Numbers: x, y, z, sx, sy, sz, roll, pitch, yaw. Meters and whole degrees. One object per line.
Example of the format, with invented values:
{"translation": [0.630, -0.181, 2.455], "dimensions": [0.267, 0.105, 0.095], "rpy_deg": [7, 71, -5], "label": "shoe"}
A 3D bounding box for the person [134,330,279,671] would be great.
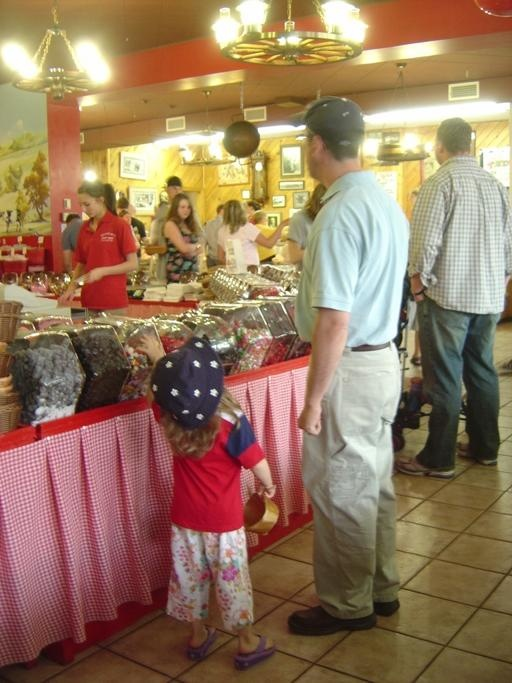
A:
{"translation": [-0.124, 0.429, 1.522], "dimensions": [0.367, 0.895, 0.286], "rpy_deg": [-5, 6, -36], "label": "person"}

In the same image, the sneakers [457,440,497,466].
{"translation": [1.316, 0.659, 3.290], "dimensions": [0.074, 0.073, 0.191], "rpy_deg": [-12, 24, -29], "label": "sneakers"}

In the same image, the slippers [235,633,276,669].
{"translation": [0.002, 0.830, 1.508], "dimensions": [0.044, 0.041, 0.116], "rpy_deg": [12, 16, 43], "label": "slippers"}

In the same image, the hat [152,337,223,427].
{"translation": [-0.164, 0.105, 1.349], "dimensions": [0.160, 0.199, 0.102], "rpy_deg": [-2, 5, -14], "label": "hat"}

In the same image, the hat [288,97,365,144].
{"translation": [0.183, -0.568, 1.434], "dimensions": [0.187, 0.139, 0.150], "rpy_deg": [1, 5, 22], "label": "hat"}

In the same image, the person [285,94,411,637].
{"translation": [0.241, 0.117, 1.521], "dimensions": [0.333, 1.505, 0.444], "rpy_deg": [1, 5, 14], "label": "person"}

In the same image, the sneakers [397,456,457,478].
{"translation": [0.944, 0.704, 3.078], "dimensions": [0.223, 0.077, 0.120], "rpy_deg": [10, 5, 16], "label": "sneakers"}

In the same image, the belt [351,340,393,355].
{"translation": [0.315, 0.012, 1.481], "dimensions": [0.143, 0.023, 0.035], "rpy_deg": [-4, 6, -42], "label": "belt"}

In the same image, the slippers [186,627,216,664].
{"translation": [-0.152, 0.839, 1.537], "dimensions": [0.037, 0.036, 0.097], "rpy_deg": [5, 15, 21], "label": "slippers"}
